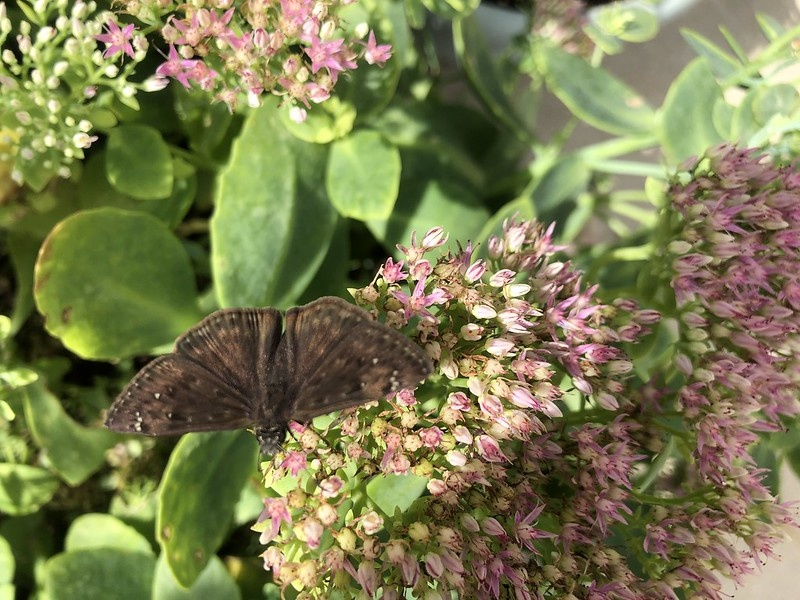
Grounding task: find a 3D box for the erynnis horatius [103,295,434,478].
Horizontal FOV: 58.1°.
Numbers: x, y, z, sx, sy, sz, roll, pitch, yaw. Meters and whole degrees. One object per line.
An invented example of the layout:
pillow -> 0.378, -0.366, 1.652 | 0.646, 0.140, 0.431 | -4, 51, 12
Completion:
erynnis horatius -> -0.243, 0.149, 1.275 | 0.620, 0.158, 0.278 | -5, 78, 12
